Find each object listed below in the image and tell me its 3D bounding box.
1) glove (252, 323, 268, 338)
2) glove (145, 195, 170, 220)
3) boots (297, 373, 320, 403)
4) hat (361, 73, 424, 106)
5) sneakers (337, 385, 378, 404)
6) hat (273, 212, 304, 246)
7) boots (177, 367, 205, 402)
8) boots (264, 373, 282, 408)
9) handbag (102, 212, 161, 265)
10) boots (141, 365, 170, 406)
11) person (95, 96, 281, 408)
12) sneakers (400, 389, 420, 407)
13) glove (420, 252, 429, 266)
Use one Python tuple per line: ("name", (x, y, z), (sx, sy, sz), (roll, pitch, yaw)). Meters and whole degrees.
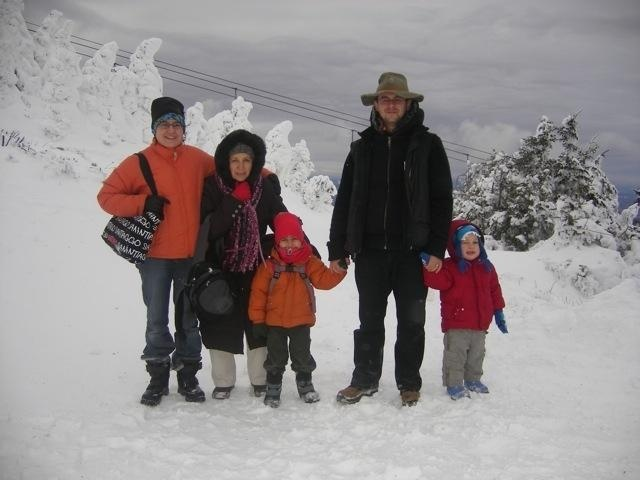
("glove", (-0.683, 1.051, 6.715), (0.175, 0.208, 0.109), (0, 0, -30))
("glove", (-1.845, -0.372, 6.653), (0.280, 0.285, 0.201), (11, 0, -26))
("boots", (-0.130, 1.723, 6.799), (0.146, 0.196, 0.421), (-7, 5, -20))
("hat", (0.789, -1.738, 6.544), (0.678, 0.327, 0.654), (0, 0, 10))
("sneakers", (0.435, 1.769, 6.725), (0.420, 0.176, 0.166), (6, -3, -31))
("hat", (-0.365, -0.132, 6.724), (0.267, 0.299, 0.381), (-3, 7, -8))
("boots", (-1.519, 1.653, 6.829), (0.183, 0.413, 0.566), (-6, 9, -36))
("boots", (-0.543, 1.721, 6.751), (0.191, 0.367, 0.207), (0, 0, -5))
("handbag", (-2.120, -0.015, 6.608), (0.642, 0.576, 0.262), (0, 0, -7))
("boots", (-1.884, 1.638, 6.700), (0.181, 0.431, 0.461), (-5, 1, 22))
("person", (-1.829, 0.100, 6.774), (1.178, 3.526, 0.534), (0, 0, -11))
("sneakers", (1.004, 1.770, 6.558), (0.170, 0.077, 0.235), (-4, 0, 6))
("glove", (1.160, 0.224, 6.562), (0.090, 0.115, 0.124), (1, -10, -17))
